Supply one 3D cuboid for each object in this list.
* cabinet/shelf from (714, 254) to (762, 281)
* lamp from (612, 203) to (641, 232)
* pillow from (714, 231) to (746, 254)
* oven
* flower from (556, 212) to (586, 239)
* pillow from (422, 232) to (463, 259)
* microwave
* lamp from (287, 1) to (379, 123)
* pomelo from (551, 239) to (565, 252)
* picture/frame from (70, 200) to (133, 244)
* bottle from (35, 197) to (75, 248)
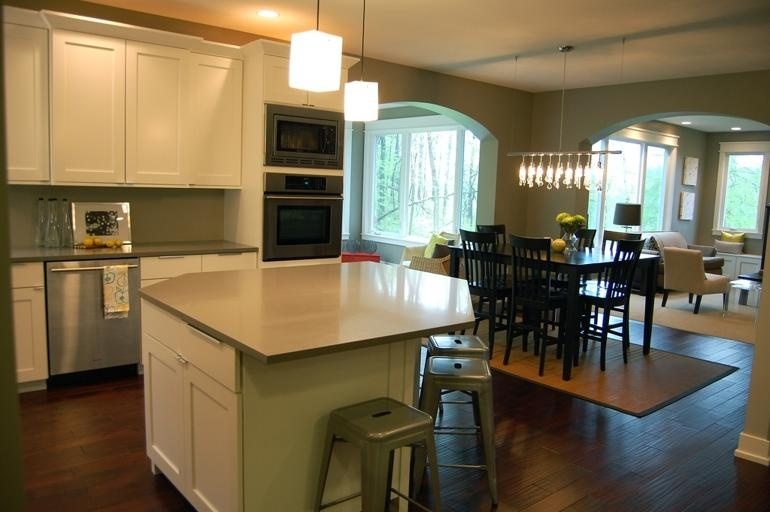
[{"bbox_3d":[6.576,0.204,10.299,0.192,0.439,0.494,6,1,-42],"label":"cabinet/shelf"},{"bbox_3d":[4.345,-0.698,9.782,0.434,0.653,0.437,4,6,42],"label":"lamp"},{"bbox_3d":[7.090,-0.261,11.356,0.258,0.464,0.486,6,0,-41],"label":"pillow"},{"bbox_3d":[-0.817,-0.425,6.345,1.004,0.953,0.731,1,-1,3],"label":"oven"},{"bbox_3d":[2.352,-0.380,7.004,0.421,0.433,0.447,4,8,31],"label":"flower"},{"bbox_3d":[0.878,-0.152,8.301,0.197,0.495,0.432,27,-11,-41],"label":"pillow"},{"bbox_3d":[-0.922,-1.244,6.009,1.029,0.686,0.603,-2,6,-36],"label":"microwave"},{"bbox_3d":[-0.313,-1.440,3.990,0.536,0.915,1.220,3,10,0],"label":"lamp"},{"bbox_3d":[2.003,-0.113,6.438,0.161,0.155,0.157,-5,6,4],"label":"pomelo"},{"bbox_3d":[-2.890,-0.334,5.587,0.476,0.378,0.050,-1,-7,-40],"label":"picture/frame"},{"bbox_3d":[-3.209,-0.330,5.375,0.318,0.458,0.231,-4,13,-31],"label":"bottle"}]
